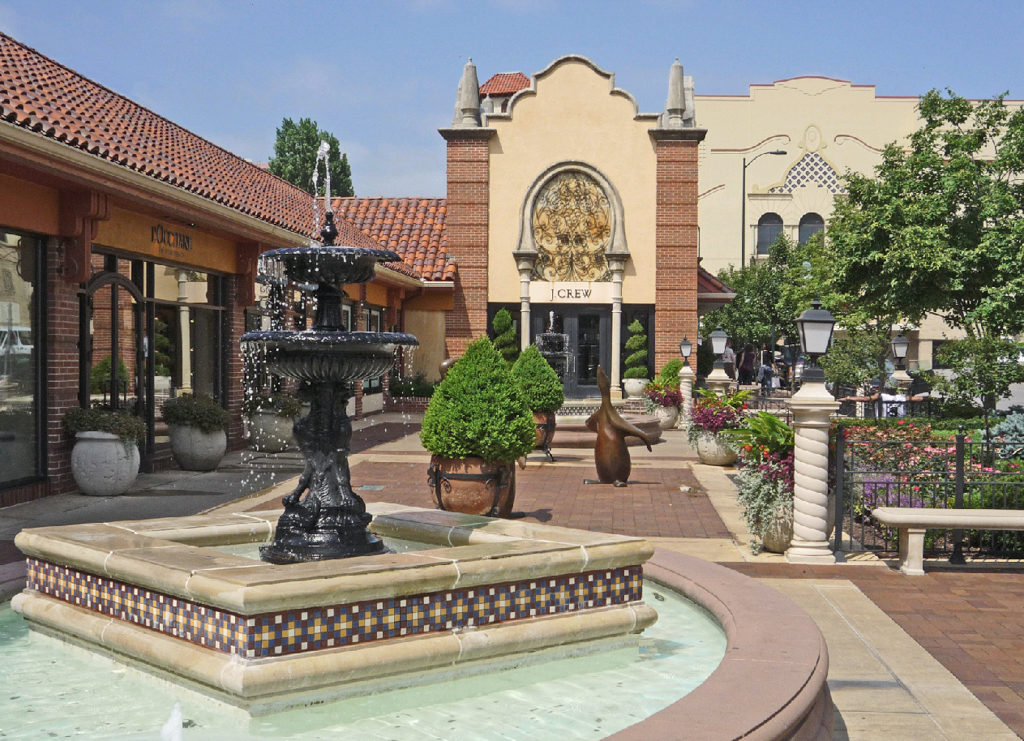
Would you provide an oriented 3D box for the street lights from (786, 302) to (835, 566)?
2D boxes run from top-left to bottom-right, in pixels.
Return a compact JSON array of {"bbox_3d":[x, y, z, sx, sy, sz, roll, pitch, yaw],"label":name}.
[{"bbox_3d":[3.548,0.733,13.181,0.622,2.960,0.604,5,7,14],"label":"street lights"}]

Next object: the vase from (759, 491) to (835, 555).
[{"bbox_3d":[3.322,1.811,13.437,0.709,0.580,0.787,3,-10,2],"label":"vase"}]

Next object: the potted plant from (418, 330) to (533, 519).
[{"bbox_3d":[-0.249,0.731,13.940,1.684,2.306,1.639,4,-1,33],"label":"potted plant"}]

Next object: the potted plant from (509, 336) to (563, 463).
[{"bbox_3d":[0.367,0.564,21.510,1.272,2.164,1.188,-5,-13,9],"label":"potted plant"}]

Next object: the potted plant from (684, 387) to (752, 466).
[{"bbox_3d":[3.794,1.077,21.414,1.577,1.846,1.459,1,-2,0],"label":"potted plant"}]

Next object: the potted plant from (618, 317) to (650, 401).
[{"bbox_3d":[3.808,-0.379,34.497,0.910,2.393,1.138,4,7,6],"label":"potted plant"}]

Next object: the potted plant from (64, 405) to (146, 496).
[{"bbox_3d":[-6.147,1.189,16.842,1.364,1.469,1.120,1,-6,-14],"label":"potted plant"}]
